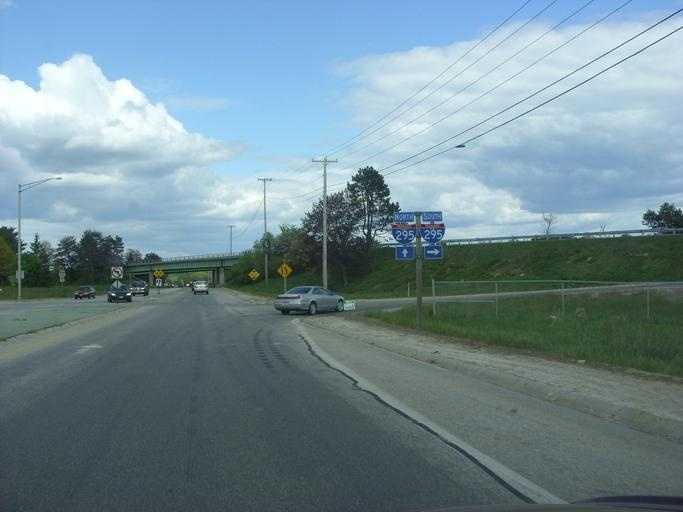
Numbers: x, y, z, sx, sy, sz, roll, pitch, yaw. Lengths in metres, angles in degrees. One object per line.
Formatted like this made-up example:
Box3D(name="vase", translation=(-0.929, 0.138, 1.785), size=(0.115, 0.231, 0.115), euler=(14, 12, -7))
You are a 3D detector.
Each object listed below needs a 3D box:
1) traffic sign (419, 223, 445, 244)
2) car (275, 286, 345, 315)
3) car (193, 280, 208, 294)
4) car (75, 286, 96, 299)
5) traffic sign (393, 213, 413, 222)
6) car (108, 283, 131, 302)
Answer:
Box3D(name="traffic sign", translation=(3.066, -0.790, 24.344), size=(0.797, 0.640, 0.698), euler=(-2, -3, 17))
Box3D(name="car", translation=(-1.523, 2.095, 34.815), size=(1.459, 0.915, 2.783), euler=(0, 1, 38))
Box3D(name="car", translation=(-14.995, 3.326, 77.978), size=(1.063, 0.882, 2.292), euler=(1, -9, -10))
Box3D(name="car", translation=(-21.673, 3.087, 61.650), size=(0.962, 0.729, 1.775), euler=(0, -12, -4))
Box3D(name="traffic sign", translation=(2.068, -1.306, 24.183), size=(0.714, 0.368, 0.095), euler=(-4, 11, -10))
Box3D(name="car", translation=(-15.445, 2.549, 50.873), size=(1.279, 1.026, 2.959), euler=(1, -8, -18))
